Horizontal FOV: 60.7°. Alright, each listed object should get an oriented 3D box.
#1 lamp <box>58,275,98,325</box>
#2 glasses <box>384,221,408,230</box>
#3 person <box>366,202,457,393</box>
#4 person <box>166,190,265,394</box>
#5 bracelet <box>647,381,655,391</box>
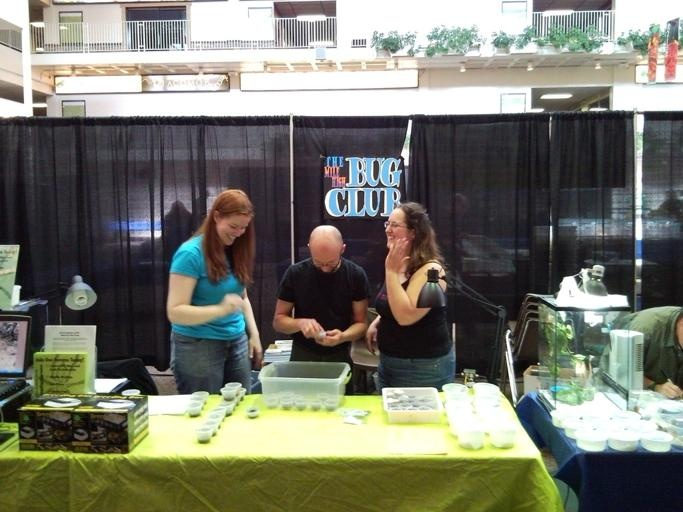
[{"bbox_3d":[-2.164,0.302,4.823,0.213,0.260,0.308,-6,7,-23],"label":"lamp"},{"bbox_3d":[0.365,-0.197,3.813,0.139,0.038,0.132,3,-2,-29],"label":"glasses"},{"bbox_3d":[0.456,0.288,3.714,0.513,1.234,0.444,-3,7,4],"label":"person"},{"bbox_3d":[-0.820,0.248,3.795,0.643,1.325,0.449,-7,8,-28],"label":"person"},{"bbox_3d":[2.211,0.923,4.149,0.058,0.043,0.058,-1,-3,2],"label":"bracelet"}]
